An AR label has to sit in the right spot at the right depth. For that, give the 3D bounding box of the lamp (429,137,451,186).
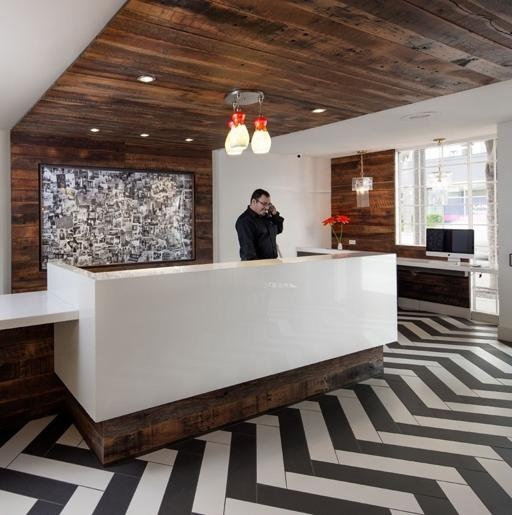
[{"bbox_3d":[2.478,-1.262,5.708,0.163,0.631,0.607,2,6,20],"label":"lamp"}]

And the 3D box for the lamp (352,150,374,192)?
[{"bbox_3d":[1.671,-1.313,6.582,0.293,0.639,0.693,1,6,16],"label":"lamp"}]

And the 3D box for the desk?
[{"bbox_3d":[2.536,0.430,5.708,0.634,0.772,1.541,-4,7,-34],"label":"desk"}]

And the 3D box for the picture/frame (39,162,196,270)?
[{"bbox_3d":[-1.661,-0.484,4.872,1.458,0.816,0.053,-3,6,-31],"label":"picture/frame"}]

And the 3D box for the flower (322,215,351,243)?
[{"bbox_3d":[1.349,-0.482,7.059,0.451,0.417,0.370,0,-14,-41],"label":"flower"}]

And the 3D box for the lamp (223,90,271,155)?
[{"bbox_3d":[-0.070,-0.883,2.771,0.346,0.346,0.295,6,13,22],"label":"lamp"}]

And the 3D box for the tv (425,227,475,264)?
[{"bbox_3d":[2.561,-0.160,5.540,0.153,0.367,0.504,5,-2,-40],"label":"tv"}]
